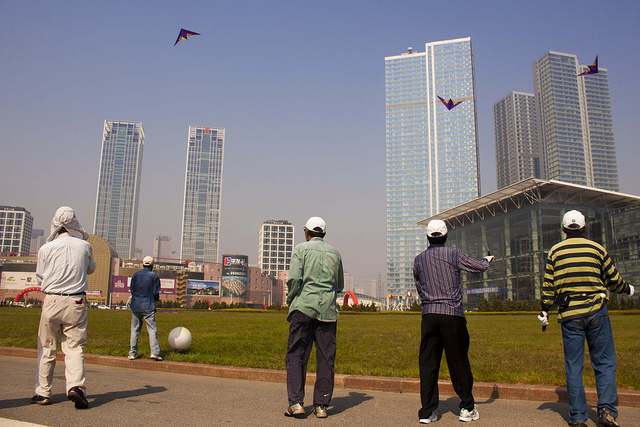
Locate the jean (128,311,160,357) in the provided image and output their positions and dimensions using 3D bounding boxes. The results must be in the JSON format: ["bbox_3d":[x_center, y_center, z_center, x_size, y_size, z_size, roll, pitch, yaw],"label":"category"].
[{"bbox_3d":[-4.238,2.916,13.608,0.636,1.069,0.871,5,-8,-20],"label":"jean"}]

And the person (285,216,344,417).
[{"bbox_3d":[-0.123,1.732,9.672,0.899,3.350,0.491,2,-8,0],"label":"person"}]

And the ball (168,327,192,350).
[{"bbox_3d":[-3.617,3.185,14.510,0.575,0.525,0.559,0,18,0],"label":"ball"}]

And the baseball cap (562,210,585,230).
[{"bbox_3d":[4.345,0.118,9.586,0.274,0.225,0.403,-2,-13,24],"label":"baseball cap"}]

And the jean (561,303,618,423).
[{"bbox_3d":[4.400,2.422,9.179,0.832,1.902,0.412,0,-8,15],"label":"jean"}]

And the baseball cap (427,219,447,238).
[{"bbox_3d":[2.025,0.264,9.729,0.310,0.322,0.277,1,-8,10],"label":"baseball cap"}]

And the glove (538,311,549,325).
[{"bbox_3d":[3.865,1.809,9.697,0.091,0.243,0.184,12,-9,-37],"label":"glove"}]

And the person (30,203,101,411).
[{"bbox_3d":[-4.372,1.577,9.661,1.047,3.369,0.426,2,-8,2],"label":"person"}]

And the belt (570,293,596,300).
[{"bbox_3d":[4.325,1.371,9.267,0.328,0.113,0.023,1,-8,10],"label":"belt"}]
